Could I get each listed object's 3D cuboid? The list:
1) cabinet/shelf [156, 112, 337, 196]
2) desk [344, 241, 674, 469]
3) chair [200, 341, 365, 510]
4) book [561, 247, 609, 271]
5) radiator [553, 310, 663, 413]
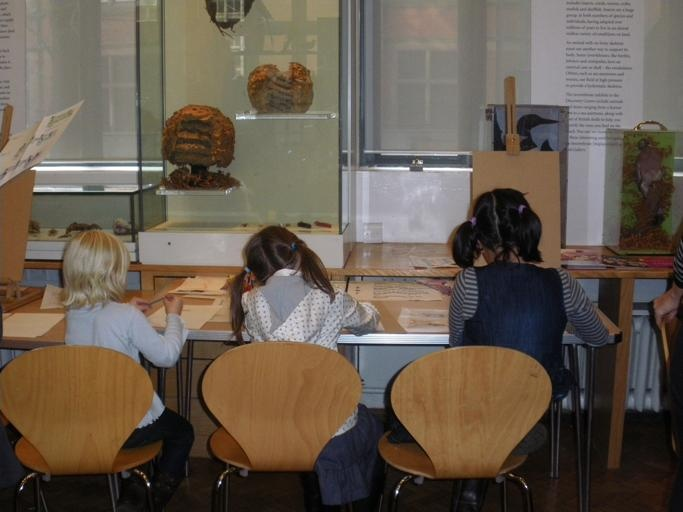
[{"bbox_3d":[-0.459,-0.526,3.933,0.901,0.456,0.393,1,5,-16],"label":"cabinet/shelf"},{"bbox_3d":[0.945,0.438,3.725,1.016,0.710,0.513,-30,37,-27],"label":"desk"},{"bbox_3d":[-0.215,0.551,2.839,0.491,0.823,0.511,2,23,-4],"label":"chair"},{"bbox_3d":[1.203,0.018,3.829,0.284,0.058,0.506,2,9,15],"label":"book"},{"bbox_3d":[1.246,0.480,3.586,0.595,0.679,0.072,0,7,9],"label":"radiator"}]
